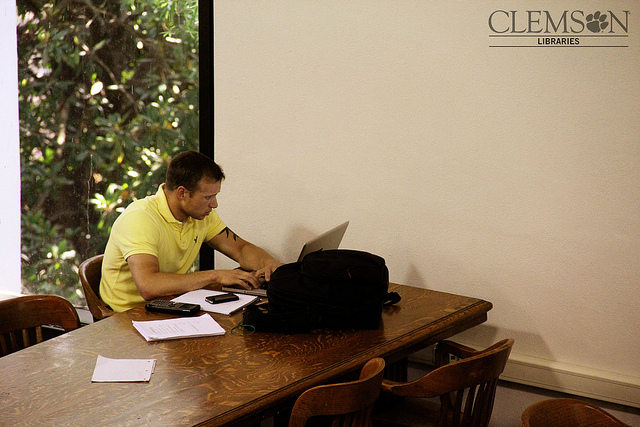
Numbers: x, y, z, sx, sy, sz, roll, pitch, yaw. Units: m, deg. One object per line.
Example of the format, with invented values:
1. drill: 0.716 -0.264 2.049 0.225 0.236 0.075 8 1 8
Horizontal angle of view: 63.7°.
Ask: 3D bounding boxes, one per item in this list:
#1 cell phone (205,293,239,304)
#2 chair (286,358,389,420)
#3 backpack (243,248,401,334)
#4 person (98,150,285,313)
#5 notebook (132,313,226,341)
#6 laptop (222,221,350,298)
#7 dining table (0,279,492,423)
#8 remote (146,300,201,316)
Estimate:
1. cell phone: -0.527 0.450 2.792 0.125 0.016 0.066 -3 7 -40
2. chair: 0.054 0.704 2.096 0.270 0.338 0.257 -17 29 -41
3. backpack: -0.024 0.387 2.625 0.736 0.338 0.327 -2 12 -6
4. person: -0.738 0.168 3.171 1.236 0.919 0.781 5 13 2
5. notebook: -0.687 0.557 2.501 0.417 0.039 0.206 -3 11 -16
6. laptop: -0.191 0.186 3.026 0.482 0.225 0.592 4 6 21
7. dining table: -0.357 0.596 2.415 2.030 0.231 0.958 -5 11 -22
8. remote: -0.769 0.481 2.680 0.224 0.033 0.093 4 7 11
